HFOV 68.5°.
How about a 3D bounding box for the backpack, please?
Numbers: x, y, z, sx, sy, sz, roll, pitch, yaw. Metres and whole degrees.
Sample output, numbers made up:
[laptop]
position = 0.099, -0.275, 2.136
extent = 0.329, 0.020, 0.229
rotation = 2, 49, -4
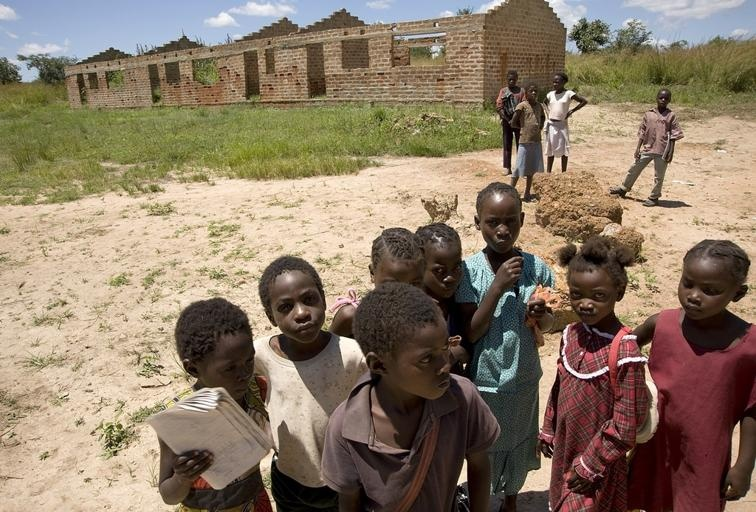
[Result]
[backpack]
position = 1.727, 0.904, 3.751
extent = 0.357, 0.813, 0.348
rotation = 10, 22, 29

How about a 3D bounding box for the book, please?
[book]
position = -0.995, 1.050, 3.399
extent = 0.543, 0.699, 0.209
rotation = 36, 34, -6
